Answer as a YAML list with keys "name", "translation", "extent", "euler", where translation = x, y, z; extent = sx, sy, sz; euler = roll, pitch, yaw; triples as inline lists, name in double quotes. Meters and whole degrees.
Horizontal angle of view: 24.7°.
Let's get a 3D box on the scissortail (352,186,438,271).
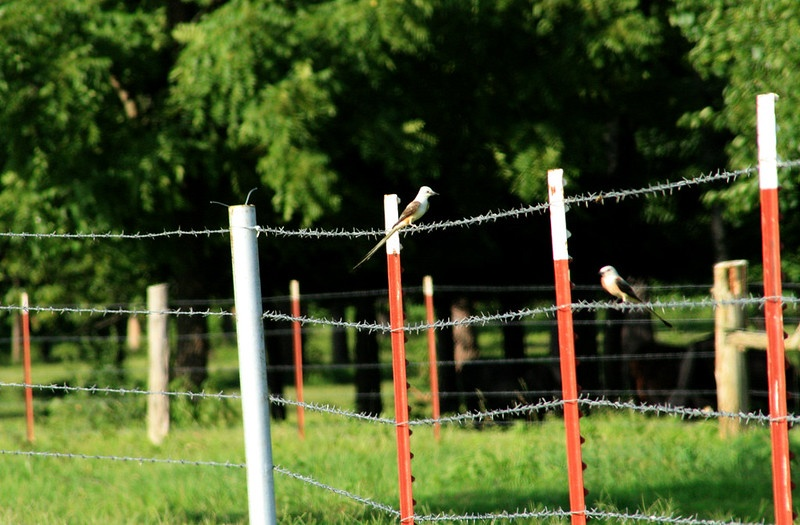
- name: "scissortail"
  translation: [0.023, -0.591, 21.957]
  extent: [0.932, 0.481, 0.262]
  euler: [-13, 0, 30]
